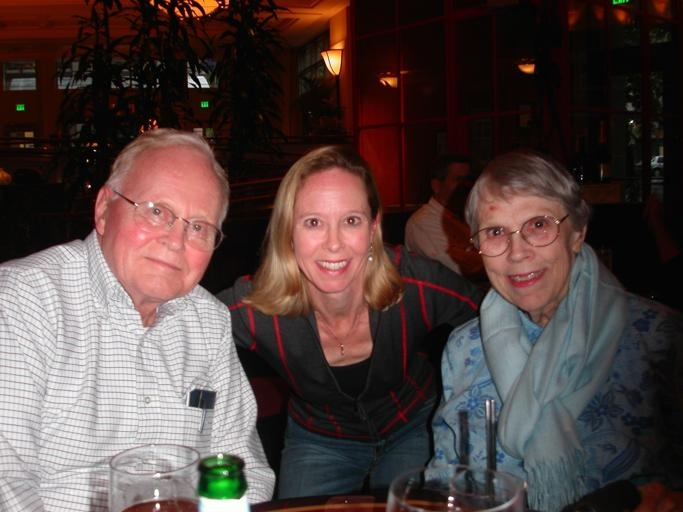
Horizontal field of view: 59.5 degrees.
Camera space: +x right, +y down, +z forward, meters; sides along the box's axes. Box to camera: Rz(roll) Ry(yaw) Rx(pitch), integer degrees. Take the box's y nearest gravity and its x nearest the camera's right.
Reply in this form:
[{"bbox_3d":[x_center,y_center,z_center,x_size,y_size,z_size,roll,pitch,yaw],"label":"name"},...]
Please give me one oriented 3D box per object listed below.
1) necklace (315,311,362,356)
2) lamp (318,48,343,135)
[{"bbox_3d":[-0.011,0.372,2.814,0.198,0.200,0.060,-4,-1,-3],"label":"necklace"},{"bbox_3d":[-0.102,-2.326,8.411,0.304,1.180,0.294,-3,0,8],"label":"lamp"}]
